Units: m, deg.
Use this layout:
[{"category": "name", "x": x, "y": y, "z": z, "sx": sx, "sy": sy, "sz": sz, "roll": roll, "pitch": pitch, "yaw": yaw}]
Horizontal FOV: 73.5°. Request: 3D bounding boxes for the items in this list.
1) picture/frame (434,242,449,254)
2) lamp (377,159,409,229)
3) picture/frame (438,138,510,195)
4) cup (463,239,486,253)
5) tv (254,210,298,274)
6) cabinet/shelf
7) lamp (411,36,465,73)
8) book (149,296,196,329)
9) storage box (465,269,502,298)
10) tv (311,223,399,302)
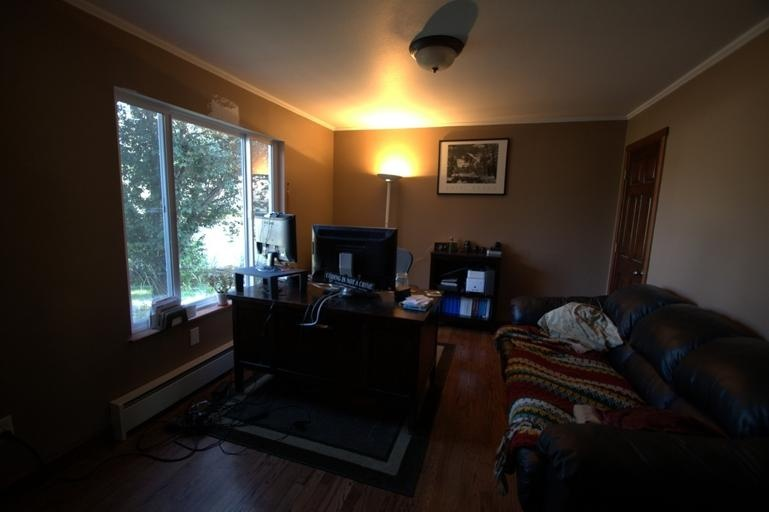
[{"category": "picture/frame", "x": 0.694, "y": -0.104, "z": 6.192, "sx": 0.202, "sy": 0.132, "sz": 0.106, "roll": 4, "pitch": 15, "yaw": 16}, {"category": "lamp", "x": 0.116, "y": -0.787, "z": 6.362, "sx": 0.374, "sy": 0.872, "sz": 0.403, "roll": 1, "pitch": 7, "yaw": -1}, {"category": "picture/frame", "x": 1.101, "y": -1.070, "z": 6.100, "sx": 0.674, "sy": 0.535, "sz": 0.026, "roll": 3, "pitch": 9, "yaw": 23}, {"category": "cup", "x": 1.092, "y": -0.111, "z": 6.142, "sx": 0.269, "sy": 0.132, "sz": 0.183, "roll": 2, "pitch": 7, "yaw": 6}, {"category": "tv", "x": -0.985, "y": -0.119, "z": 4.666, "sx": 0.493, "sy": 0.466, "sz": 0.259, "roll": 8, "pitch": 17, "yaw": 33}, {"category": "cabinet/shelf", "x": 0.959, "y": 0.414, "z": 5.923, "sx": 0.880, "sy": 1.007, "sz": 0.348, "roll": 2, "pitch": 6, "yaw": 16}, {"category": "lamp", "x": 0.421, "y": -1.627, "z": 4.158, "sx": 0.443, "sy": 0.239, "sz": 0.178, "roll": 2, "pitch": 8, "yaw": 8}, {"category": "book", "x": -1.861, "y": 0.489, "z": 4.449, "sx": 0.280, "sy": 0.103, "sz": 0.211, "roll": 3, "pitch": 10, "yaw": 28}, {"category": "storage box", "x": 1.110, "y": 0.300, "z": 5.920, "sx": 0.314, "sy": 0.288, "sz": 0.291, "roll": 6, "pitch": 20, "yaw": 19}, {"category": "tv", "x": -0.251, "y": 0.074, "z": 4.389, "sx": 0.617, "sy": 0.442, "sz": 0.167, "roll": 2, "pitch": 13, "yaw": 11}]
